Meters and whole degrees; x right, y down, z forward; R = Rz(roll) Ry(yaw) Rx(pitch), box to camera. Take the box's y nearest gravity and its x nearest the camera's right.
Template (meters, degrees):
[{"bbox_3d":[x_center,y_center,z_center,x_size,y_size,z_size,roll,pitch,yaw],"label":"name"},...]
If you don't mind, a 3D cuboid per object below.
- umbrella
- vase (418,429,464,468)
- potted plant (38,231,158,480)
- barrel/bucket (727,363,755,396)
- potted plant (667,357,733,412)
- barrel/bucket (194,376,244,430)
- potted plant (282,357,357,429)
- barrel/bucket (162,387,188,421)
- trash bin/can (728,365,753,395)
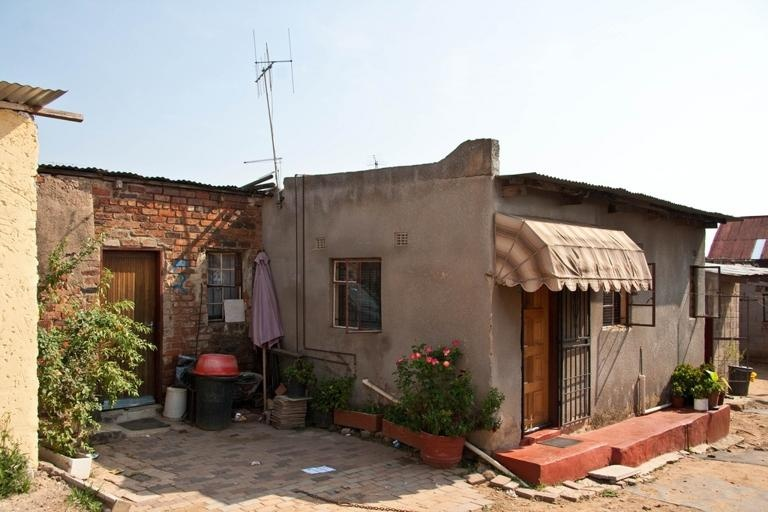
[{"bbox_3d":[-2.807,1.267,14.704,0.640,2.679,0.851,-1,7,-42],"label":"umbrella"},{"bbox_3d":[1.086,3.657,11.856,0.905,0.660,0.899,3,-2,-32],"label":"vase"},{"bbox_3d":[-5.307,1.628,11.362,1.730,3.915,2.885,1,6,-29],"label":"potted plant"},{"bbox_3d":[10.718,3.745,18.835,0.843,0.976,0.849,1,-14,0],"label":"barrel/bucket"},{"bbox_3d":[7.790,3.207,15.501,1.156,0.883,1.099,4,-9,-29],"label":"potted plant"},{"bbox_3d":[-3.568,3.047,13.322,0.976,1.224,1.141,-5,-9,36],"label":"barrel/bucket"},{"bbox_3d":[-1.418,3.053,13.652,1.511,1.292,0.602,6,6,28],"label":"potted plant"},{"bbox_3d":[-4.458,3.176,13.364,0.591,0.609,0.549,5,-3,0],"label":"barrel/bucket"},{"bbox_3d":[10.635,3.754,18.852,0.787,0.933,0.777,-5,-8,27],"label":"trash bin/can"}]
